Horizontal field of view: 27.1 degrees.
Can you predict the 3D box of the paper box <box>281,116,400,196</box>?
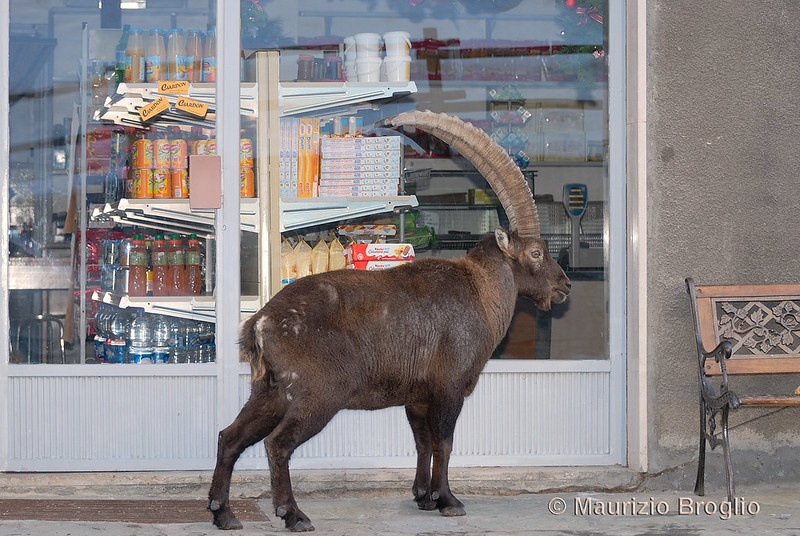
[{"bbox_3d":[-0.444,-0.800,12.043,1.010,0.521,1.029,0,2,0],"label":"paper box"}]
